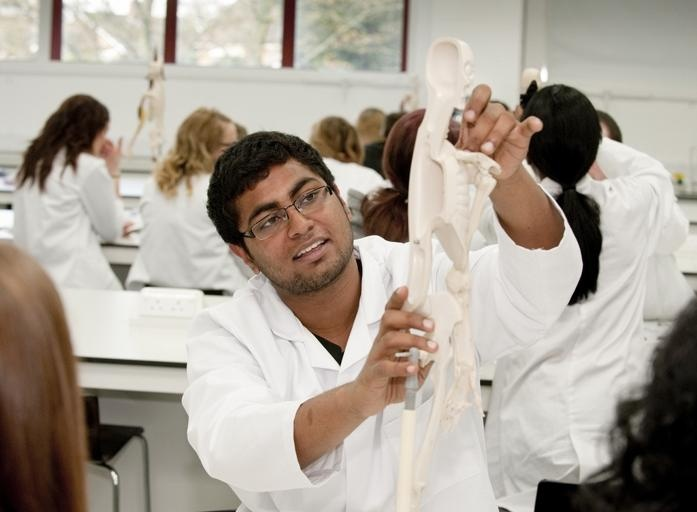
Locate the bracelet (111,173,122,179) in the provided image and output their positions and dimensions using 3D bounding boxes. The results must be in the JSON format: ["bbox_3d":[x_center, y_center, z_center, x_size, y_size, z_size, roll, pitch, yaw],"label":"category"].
[{"bbox_3d":[-0.646,-0.223,2.030,0.031,0.012,0.007,7,12,31],"label":"bracelet"}]
